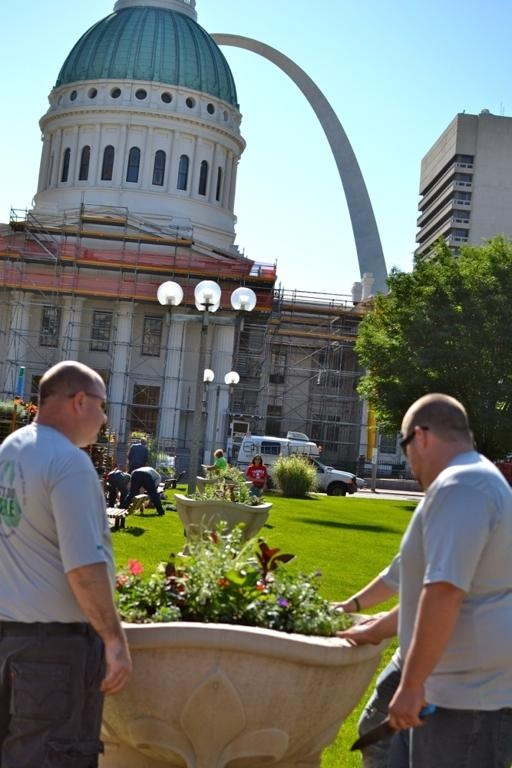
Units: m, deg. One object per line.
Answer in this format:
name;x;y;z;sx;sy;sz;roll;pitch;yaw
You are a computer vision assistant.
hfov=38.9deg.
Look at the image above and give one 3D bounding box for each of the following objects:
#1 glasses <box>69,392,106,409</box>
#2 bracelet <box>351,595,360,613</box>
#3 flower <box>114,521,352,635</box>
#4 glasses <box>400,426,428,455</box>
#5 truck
glasses;-0.644;0.060;2.758;0.076;0.073;0.024;5;-8;-40
bracelet;0.466;1.024;3.386;0.024;0.062;0.056;-8;-9;10
flower;-0.133;0.908;3.406;0.621;0.232;0.631;6;-3;-1
glasses;0.554;0.201;2.562;0.032;0.097;0.098;14;-9;-32
truck;2.022;4.135;36.686;6.477;2.930;2.622;4;-4;-4
